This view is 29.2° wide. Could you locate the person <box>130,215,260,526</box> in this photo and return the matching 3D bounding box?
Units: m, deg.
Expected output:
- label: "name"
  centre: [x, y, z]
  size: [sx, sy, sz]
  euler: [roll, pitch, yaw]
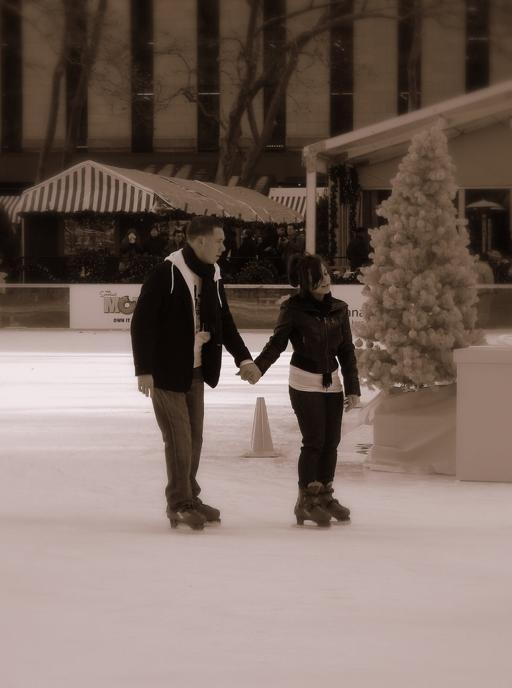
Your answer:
- label: "person"
  centre: [-0.341, 0.151, 5.257]
  size: [0.663, 1.661, 0.502]
  euler: [-1, 3, -13]
